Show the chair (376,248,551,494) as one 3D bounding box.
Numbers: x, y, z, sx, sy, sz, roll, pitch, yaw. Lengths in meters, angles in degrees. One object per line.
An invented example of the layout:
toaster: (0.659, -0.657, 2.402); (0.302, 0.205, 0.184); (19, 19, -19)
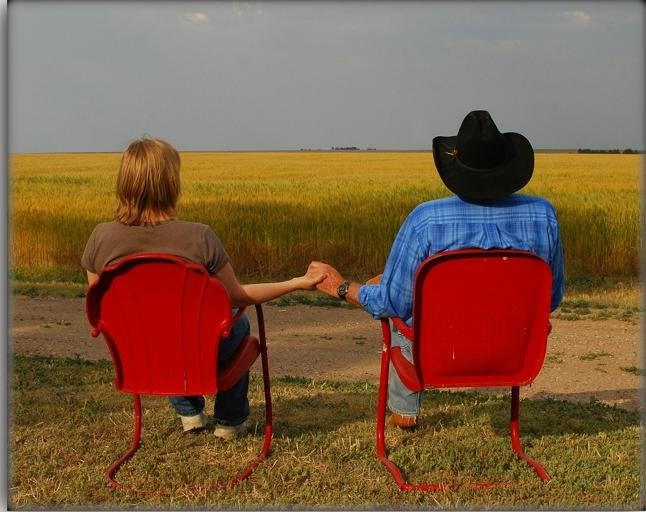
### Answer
chair: (1.032, 0.781, 7.343); (1.436, 2.271, 1.481); (0, 4, -4)

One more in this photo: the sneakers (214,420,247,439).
sneakers: (-0.705, 1.349, 7.564); (0.106, 0.152, 0.309); (4, -1, 28)

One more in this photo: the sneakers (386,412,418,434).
sneakers: (0.626, 1.299, 7.685); (0.140, 0.184, 0.183); (7, 19, -34)

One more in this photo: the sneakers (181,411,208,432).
sneakers: (-1.007, 1.308, 7.641); (0.126, 0.143, 0.176); (-8, -2, -44)

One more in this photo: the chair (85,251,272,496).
chair: (-1.067, 0.694, 7.328); (1.092, 1.898, 1.331); (2, 14, 15)
